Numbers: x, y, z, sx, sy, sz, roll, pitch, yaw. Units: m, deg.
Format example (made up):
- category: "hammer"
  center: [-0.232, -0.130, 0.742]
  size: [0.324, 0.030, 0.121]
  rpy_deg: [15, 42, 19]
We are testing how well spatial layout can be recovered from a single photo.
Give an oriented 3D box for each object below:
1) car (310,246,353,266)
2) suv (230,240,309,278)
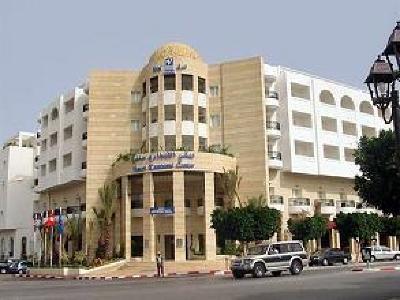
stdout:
- category: "car"
  center: [13.402, 10.990, 54.888]
  size: [3.003, 1.327, 2.025]
  rpy_deg: [7, -19, -19]
- category: "suv"
  center: [5.020, 7.725, 37.829]
  size: [5.248, 2.666, 1.547]
  rpy_deg: [7, -18, -28]
